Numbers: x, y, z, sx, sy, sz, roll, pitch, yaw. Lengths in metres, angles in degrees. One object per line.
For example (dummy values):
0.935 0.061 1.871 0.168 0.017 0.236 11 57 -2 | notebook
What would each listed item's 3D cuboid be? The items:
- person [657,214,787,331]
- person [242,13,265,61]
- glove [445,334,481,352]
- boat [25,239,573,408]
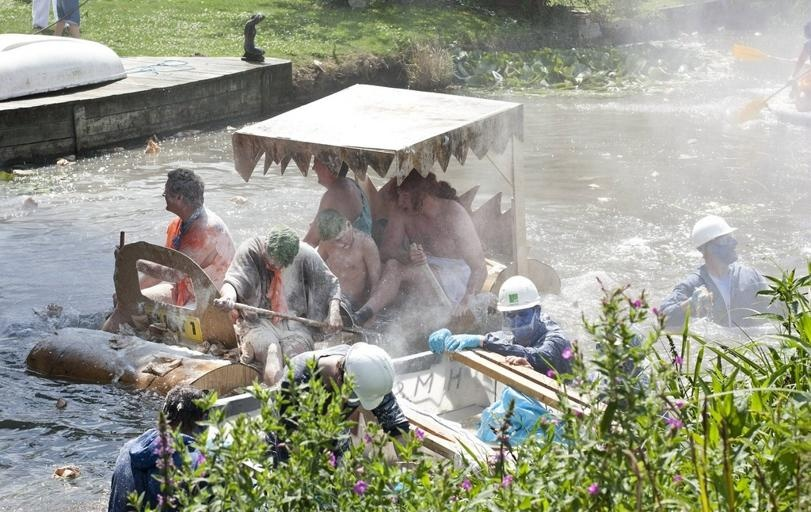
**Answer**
5.896 0.365 19.096 1.301 2.653 0.967 -20 2 -20 | person
-4.376 -6.210 29.565 0.604 1.483 2.676 1 17 -9 | person
0.933 1.391 16.257 0.578 0.284 0.205 5 16 1 | glove
-2.914 0.420 16.811 5.591 2.234 3.616 13 8 16 | boat
